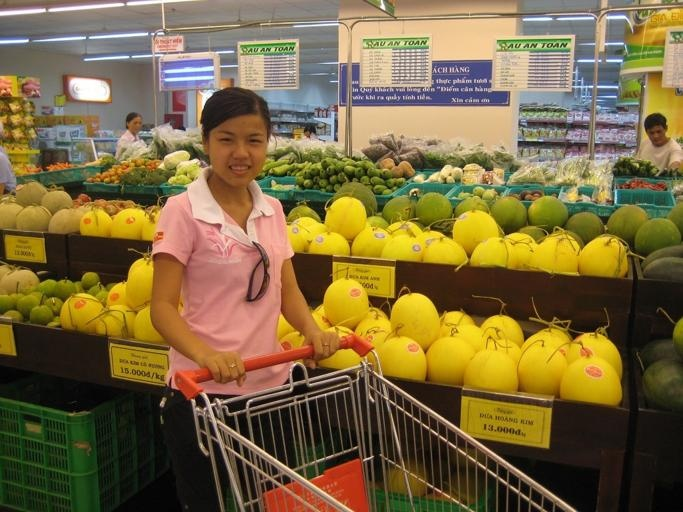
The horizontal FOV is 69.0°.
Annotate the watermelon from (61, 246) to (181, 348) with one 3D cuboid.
[{"bbox_3d":[-0.986,0.227,2.484,0.492,0.544,0.447,4,15,24],"label":"watermelon"}]

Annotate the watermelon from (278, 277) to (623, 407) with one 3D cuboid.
[{"bbox_3d":[0.461,0.347,1.957,0.787,0.367,0.456,4,12,23],"label":"watermelon"}]

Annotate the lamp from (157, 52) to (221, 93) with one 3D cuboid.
[{"bbox_3d":[-2.269,-2.791,7.453,1.157,0.612,0.234,2,10,25],"label":"lamp"}]

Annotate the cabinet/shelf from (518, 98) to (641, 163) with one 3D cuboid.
[{"bbox_3d":[6.990,-3.771,14.920,4.560,1.676,1.252,-8,11,-33],"label":"cabinet/shelf"}]

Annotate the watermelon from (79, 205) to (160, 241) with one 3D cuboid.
[{"bbox_3d":[-1.359,-0.223,3.067,0.514,0.255,0.403,-9,18,-32],"label":"watermelon"}]

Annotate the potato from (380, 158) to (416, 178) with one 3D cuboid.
[{"bbox_3d":[0.522,-0.888,4.965,0.356,0.171,0.216,23,12,36],"label":"potato"}]
